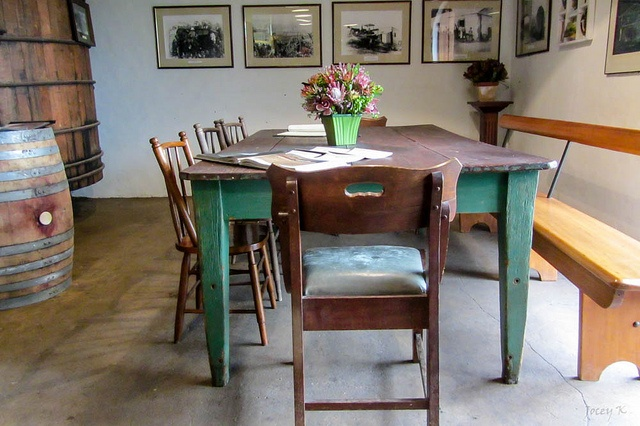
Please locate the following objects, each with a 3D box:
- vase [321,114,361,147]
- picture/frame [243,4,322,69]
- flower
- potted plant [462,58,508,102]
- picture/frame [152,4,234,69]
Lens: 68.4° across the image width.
[{"bbox_3d":[0.135,-0.541,3.087,0.248,0.178,0.217,-7,9,-30],"label":"vase"},{"bbox_3d":[-0.443,-2.089,5.474,1.019,0.733,0.036,0,7,-1],"label":"picture/frame"},{"bbox_3d":[0.122,-0.764,2.997,0.398,0.283,0.403,8,15,33],"label":"flower"},{"bbox_3d":[1.801,-1.454,5.373,0.489,0.478,0.500,-3,11,-1],"label":"potted plant"},{"bbox_3d":[-1.469,-2.087,5.483,0.676,0.527,0.029,-1,9,0],"label":"picture/frame"}]
